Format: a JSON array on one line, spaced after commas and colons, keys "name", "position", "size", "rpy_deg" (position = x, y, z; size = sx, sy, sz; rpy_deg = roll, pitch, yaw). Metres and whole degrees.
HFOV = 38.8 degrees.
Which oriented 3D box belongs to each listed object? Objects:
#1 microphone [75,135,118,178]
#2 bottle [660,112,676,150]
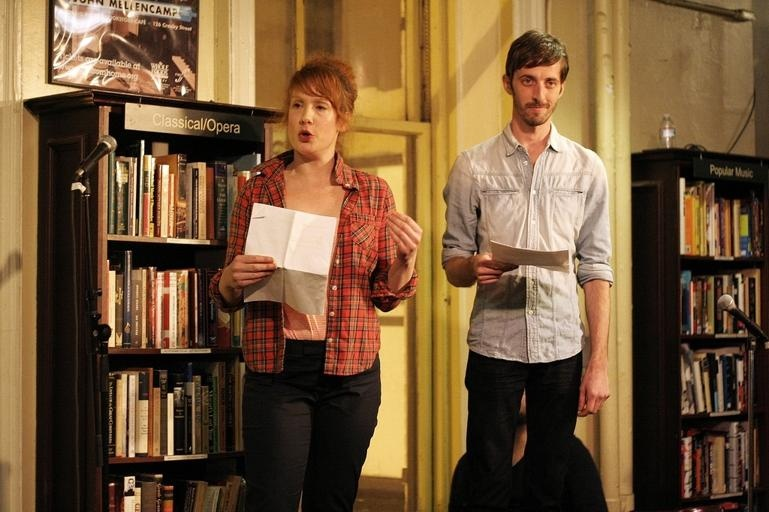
[{"name": "microphone", "position": [-1.533, -0.527, 5.664], "size": [0.275, 0.081, 0.079], "rpy_deg": [-23, -33, 34]}, {"name": "bottle", "position": [2.025, -0.892, 7.836], "size": [0.097, 0.246, 0.150], "rpy_deg": [0, -3, 13]}]
